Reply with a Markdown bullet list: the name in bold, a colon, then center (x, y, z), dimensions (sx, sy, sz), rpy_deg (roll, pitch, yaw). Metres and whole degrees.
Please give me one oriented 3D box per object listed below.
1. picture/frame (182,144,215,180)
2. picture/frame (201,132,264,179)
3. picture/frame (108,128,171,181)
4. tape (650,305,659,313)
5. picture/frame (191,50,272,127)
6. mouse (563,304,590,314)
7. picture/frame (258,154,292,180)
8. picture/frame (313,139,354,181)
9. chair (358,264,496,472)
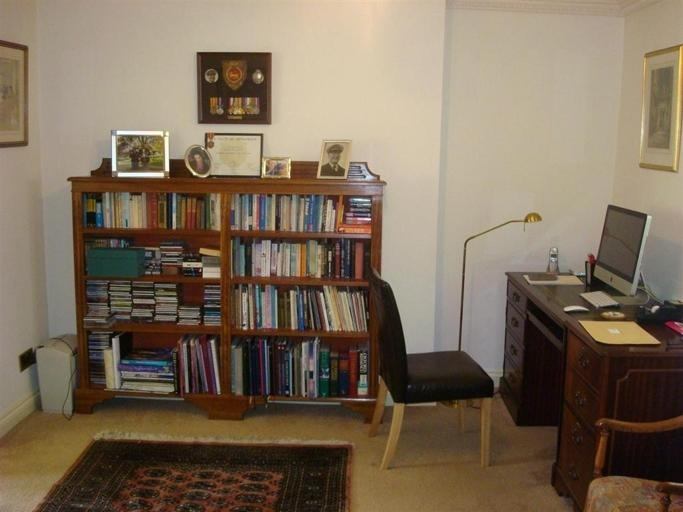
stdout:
- **picture/frame**: center (-0.971, -0.665, 4.138), dimensions (0.161, 0.220, 0.125), rpy_deg (5, 13, 34)
- **picture/frame**: center (-0.743, -0.698, 4.162), dimensions (0.317, 0.252, 0.025), rpy_deg (0, -6, -2)
- **picture/frame**: center (-1.372, -0.694, 4.103), dimensions (0.354, 0.328, 0.028), rpy_deg (1, -1, -5)
- **tape**: center (1.781, 0.300, 3.401), dimensions (0.050, 0.051, 0.044), rpy_deg (2, 5, 39)
- **picture/frame**: center (-0.744, -1.209, 4.174), dimensions (0.469, 0.465, 0.051), rpy_deg (1, 5, -3)
- **mouse**: center (1.390, 0.310, 3.521), dimensions (0.119, 0.025, 0.060), rpy_deg (-1, 14, -1)
- **picture/frame**: center (-0.450, -0.611, 4.109), dimensions (0.194, 0.154, 0.021), rpy_deg (1, 7, 2)
- **picture/frame**: center (-0.036, -0.662, 4.111), dimensions (0.265, 0.365, 0.028), rpy_deg (7, -3, 3)
- **chair**: center (0.558, 0.681, 3.823), dimensions (0.763, 1.255, 0.575), rpy_deg (-2, 11, 2)
